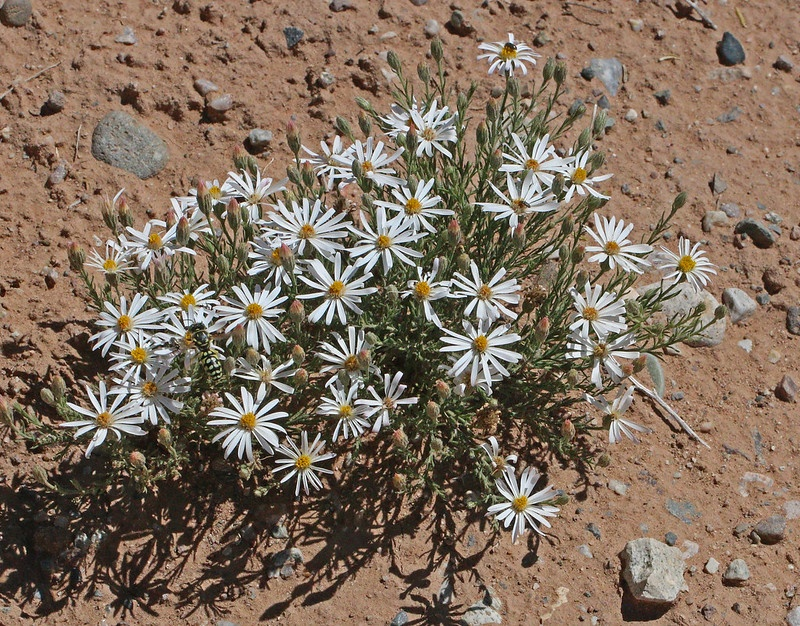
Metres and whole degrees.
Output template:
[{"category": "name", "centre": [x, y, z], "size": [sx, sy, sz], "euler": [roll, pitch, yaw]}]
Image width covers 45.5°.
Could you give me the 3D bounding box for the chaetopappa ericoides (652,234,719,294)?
[{"category": "chaetopappa ericoides", "centre": [1.790, -0.294, 6.107], "size": [0.426, 0.169, 0.485], "euler": [20, 64, 6]}]

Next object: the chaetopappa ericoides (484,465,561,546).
[{"category": "chaetopappa ericoides", "centre": [0.711, 1.081, 5.742], "size": [0.377, 0.482, 0.527], "euler": [-1, 101, -8]}]
